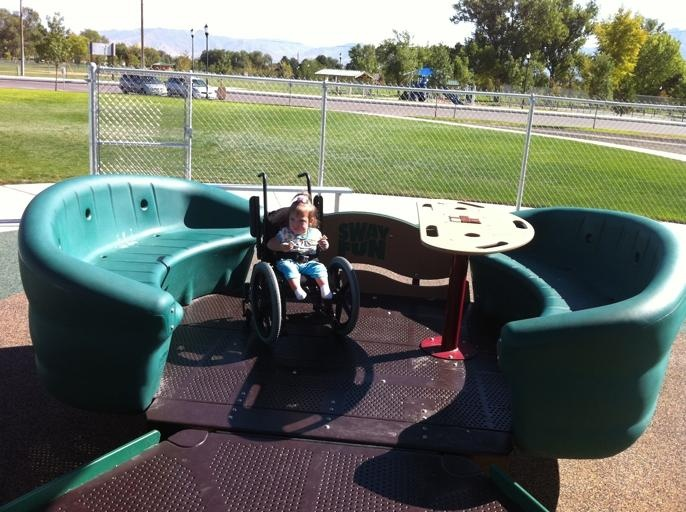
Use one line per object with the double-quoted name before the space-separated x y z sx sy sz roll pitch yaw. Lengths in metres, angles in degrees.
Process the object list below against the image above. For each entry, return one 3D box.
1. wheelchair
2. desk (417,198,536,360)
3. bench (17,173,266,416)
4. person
"wheelchair" -0.353 -0.097 4.591 0.476 0.876 0.896 0 13 -19
"desk" 1.150 0.225 4.608 0.784 0.990 0.945 -9 30 -25
"bench" -1.562 0.330 4.160 0.920 0.829 1.771 4 14 6
"person" -0.365 -0.068 4.553 0.494 0.886 0.900 -5 17 -22
